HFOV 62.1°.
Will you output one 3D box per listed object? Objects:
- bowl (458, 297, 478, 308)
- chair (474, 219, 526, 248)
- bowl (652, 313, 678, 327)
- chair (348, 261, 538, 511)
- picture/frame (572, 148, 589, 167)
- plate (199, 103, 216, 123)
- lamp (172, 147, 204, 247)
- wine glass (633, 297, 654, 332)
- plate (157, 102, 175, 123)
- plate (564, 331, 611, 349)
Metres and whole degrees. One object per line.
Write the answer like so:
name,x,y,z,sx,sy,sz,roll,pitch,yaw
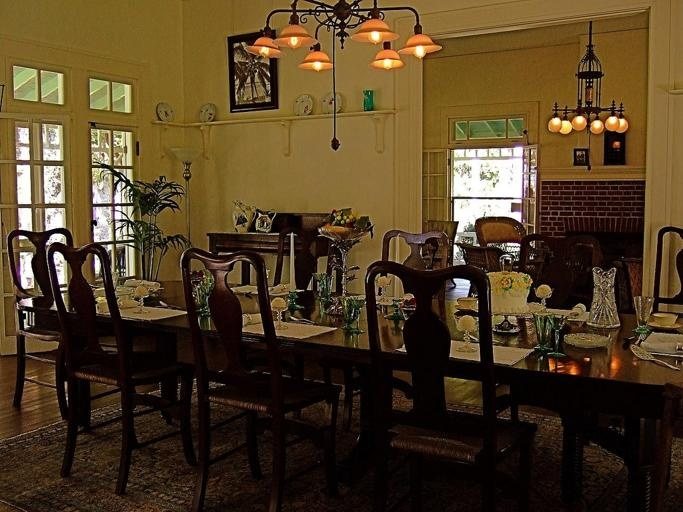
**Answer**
bowl,0.737,0.280,3.352,0.099,0.040,0.105,1,0,0
chair,1.938,-0.278,6.987,0.424,0.574,0.416,-2,-2,-15
bowl,1.667,0.329,2.946,0.116,0.061,0.108,-2,5,0
chair,0.443,0.578,2.377,0.679,1.146,0.469,0,5,19
picture/frame,3.617,-1.496,8.583,0.286,0.373,0.025,-2,-4,44
plate,-1.703,-1.826,7.224,0.228,0.248,0.056,10,4,25
lamp,-1.938,-0.751,7.170,0.345,1.212,0.556,-4,5,-16
wine glass,1.553,0.283,2.927,0.073,0.182,0.286,1,5,29
plate,-2.202,-1.802,7.072,0.049,0.227,0.219,-2,-14,38
plate,1.145,0.396,2.650,0.201,0.043,0.181,-1,5,19
